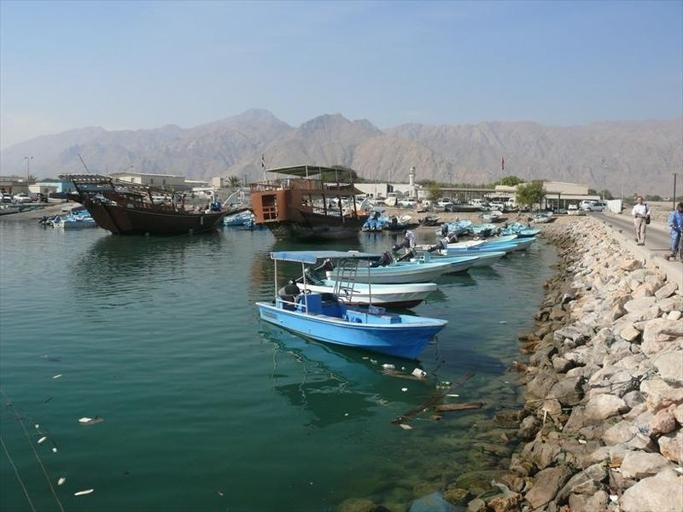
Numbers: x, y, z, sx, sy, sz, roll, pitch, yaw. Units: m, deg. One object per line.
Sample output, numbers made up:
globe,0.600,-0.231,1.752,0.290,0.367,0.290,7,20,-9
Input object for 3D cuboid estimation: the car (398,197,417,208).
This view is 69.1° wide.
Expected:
car,17.123,-14.198,131.889,3.583,1.620,4.546,-2,4,-16

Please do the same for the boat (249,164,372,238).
boat,-4.287,-7.474,69.734,13.440,10.464,17.716,1,10,1

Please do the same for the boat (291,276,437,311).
boat,1.007,2.414,26.199,7.959,1.455,2.438,2,6,8
